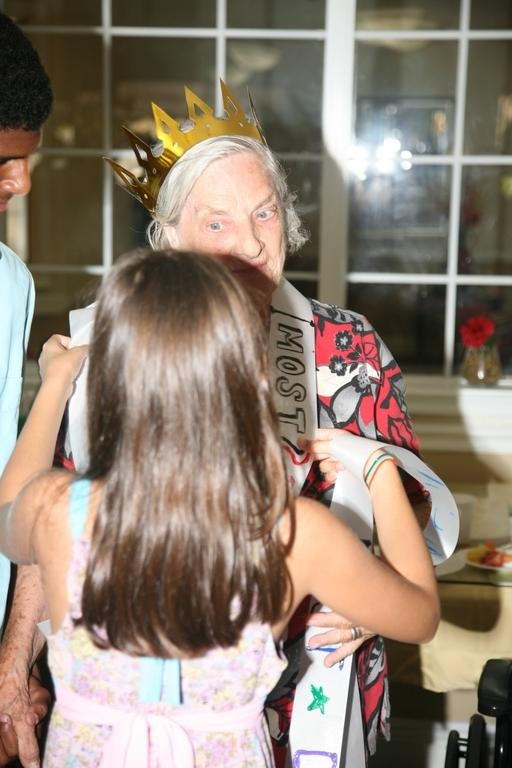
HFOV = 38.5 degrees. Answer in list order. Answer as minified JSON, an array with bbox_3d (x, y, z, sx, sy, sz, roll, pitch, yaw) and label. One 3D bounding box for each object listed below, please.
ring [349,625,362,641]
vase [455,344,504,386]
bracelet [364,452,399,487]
[{"bbox_3d":[0.123,0.303,0.901,0.016,0.020,0.022,0,-10,1],"label":"ring"},{"bbox_3d":[0.725,-0.058,2.356,0.136,0.176,0.122,0,-8,-1],"label":"vase"},{"bbox_3d":[0.144,0.091,0.833,0.010,0.040,0.030,36,-29,-17],"label":"bracelet"}]
